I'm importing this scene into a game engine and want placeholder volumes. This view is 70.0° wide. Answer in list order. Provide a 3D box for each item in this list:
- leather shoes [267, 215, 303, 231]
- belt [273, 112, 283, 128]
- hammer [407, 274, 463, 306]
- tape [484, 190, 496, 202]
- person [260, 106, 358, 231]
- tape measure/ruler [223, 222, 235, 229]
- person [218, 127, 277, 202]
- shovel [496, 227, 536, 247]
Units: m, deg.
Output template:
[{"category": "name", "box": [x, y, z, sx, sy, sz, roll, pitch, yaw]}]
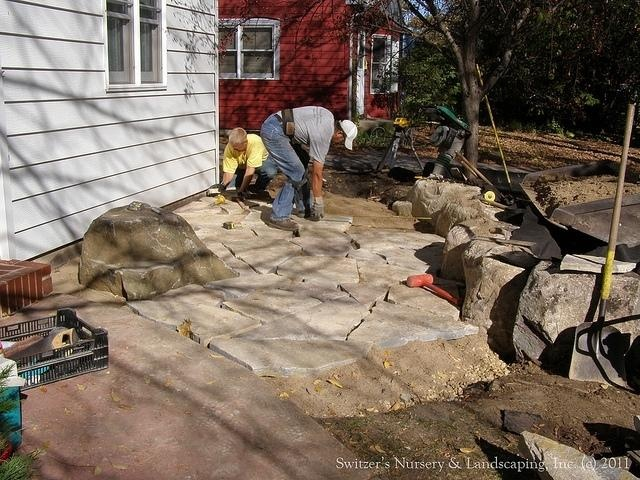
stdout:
[{"category": "leather shoes", "box": [-0.527, -0.260, 6.934, 0.526, 0.194, 0.188, 4, 20, 1]}, {"category": "belt", "box": [-0.628, -1.702, 6.988, 0.082, 0.217, 0.157, -36, 20, 24]}, {"category": "hammer", "box": [1.309, 0.445, 5.120, 0.700, 0.140, 0.391, 18, 22, 37]}, {"category": "tape", "box": [2.704, -0.680, 7.270, 0.199, 0.192, 0.048, -10, 3, -19]}, {"category": "person", "box": [-0.227, -1.118, 7.294, 1.434, 1.697, 1.102, -3, 19, -24]}, {"category": "tape measure/ruler", "box": [-1.360, -0.228, 6.817, 0.167, 0.073, 0.112, 2, 18, -10]}, {"category": "person", "box": [-1.390, -1.326, 8.190, 0.898, 1.354, 0.895, 8, 17, 20]}, {"category": "shovel", "box": [2.129, -0.031, 5.035, 0.172, 0.088, 0.442, -31, -21, 29]}]
